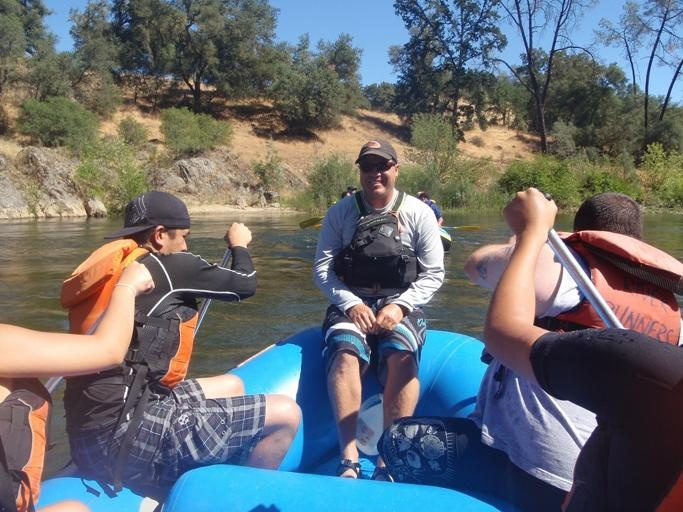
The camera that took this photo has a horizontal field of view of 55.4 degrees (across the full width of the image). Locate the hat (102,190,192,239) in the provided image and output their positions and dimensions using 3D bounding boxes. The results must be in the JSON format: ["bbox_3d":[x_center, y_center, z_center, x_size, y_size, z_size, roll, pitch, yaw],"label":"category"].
[{"bbox_3d":[-0.849,-0.187,2.830,0.272,0.215,0.382,-1,3,42],"label":"hat"}]

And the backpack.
[{"bbox_3d":[0.194,-0.077,3.600,0.447,0.618,0.334,1,-4,-2],"label":"backpack"}]

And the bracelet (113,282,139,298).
[{"bbox_3d":[-0.716,0.123,2.195,0.048,0.037,0.065,-4,-12,-10],"label":"bracelet"}]
